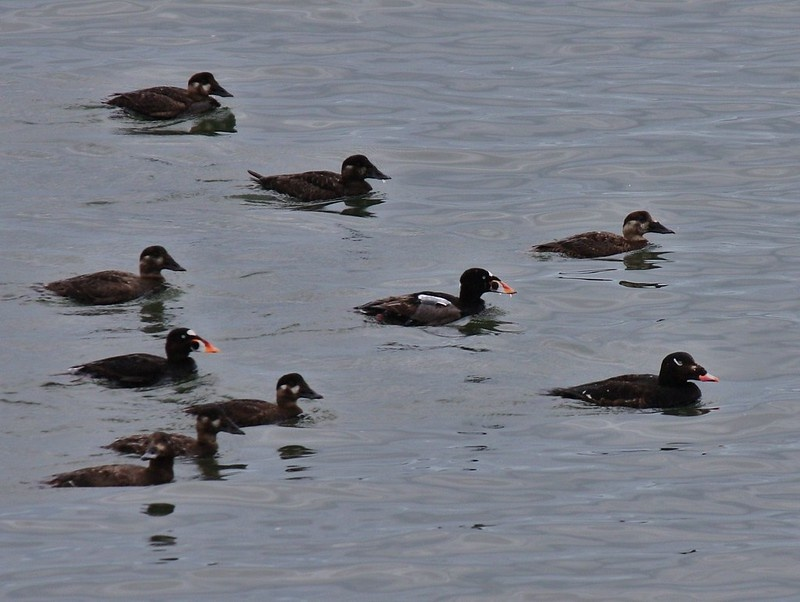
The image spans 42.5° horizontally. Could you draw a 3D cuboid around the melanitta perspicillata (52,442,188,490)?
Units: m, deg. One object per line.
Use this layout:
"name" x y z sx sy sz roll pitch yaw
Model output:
"melanitta perspicillata" -4.274 2.417 15.200 1.833 0.733 0.560 -3 41 -11
